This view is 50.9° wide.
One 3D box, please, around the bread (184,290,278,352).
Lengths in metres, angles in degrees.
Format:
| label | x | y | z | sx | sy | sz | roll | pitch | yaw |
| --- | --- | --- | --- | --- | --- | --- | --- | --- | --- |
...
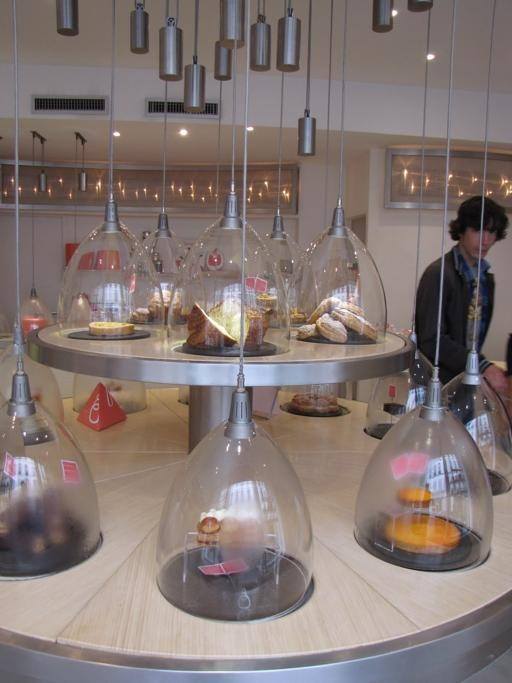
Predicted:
| label | x | y | z | sx | sy | sz | roll | pitch | yaw |
| --- | --- | --- | --- | --- | --- | --- | --- | --- | --- |
| bread | -0.039 | -0.026 | 0.896 | 0.116 | 0.077 | 0.089 | -1 | -2 | 42 |
